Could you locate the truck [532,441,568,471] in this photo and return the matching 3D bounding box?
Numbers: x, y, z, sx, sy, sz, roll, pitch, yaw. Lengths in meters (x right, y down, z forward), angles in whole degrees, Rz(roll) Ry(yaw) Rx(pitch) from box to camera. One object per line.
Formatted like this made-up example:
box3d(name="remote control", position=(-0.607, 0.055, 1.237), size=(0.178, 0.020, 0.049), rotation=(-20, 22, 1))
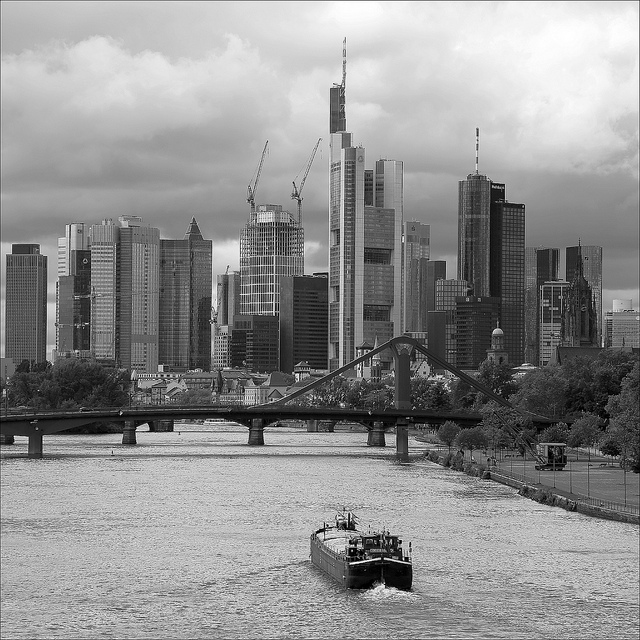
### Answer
box3d(name="truck", position=(16.303, 9.644, 128.004), size=(1.482, 1.997, 2.797), rotation=(1, -6, -6))
